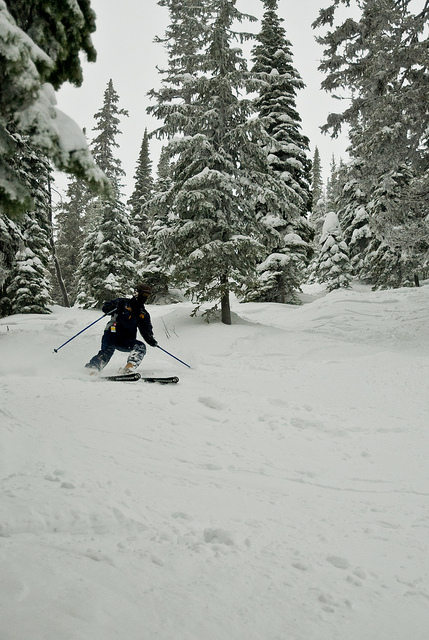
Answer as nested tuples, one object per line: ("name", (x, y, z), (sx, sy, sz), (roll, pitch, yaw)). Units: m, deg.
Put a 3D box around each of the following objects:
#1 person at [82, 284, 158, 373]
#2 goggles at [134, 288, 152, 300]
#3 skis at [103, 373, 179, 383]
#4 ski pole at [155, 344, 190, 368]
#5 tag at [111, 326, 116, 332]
("person", (-1.641, 0.169, 9.276), (1.101, 1.774, 0.880), (0, -23, 27))
("goggles", (-1.282, -0.458, 9.599), (0.210, 0.084, 0.170), (16, 11, 39))
("skis", (-1.135, 0.873, 8.196), (1.035, 0.086, 0.119), (1, 24, -2))
("ski pole", (-0.857, 0.723, 11.018), (0.066, 0.671, 0.045), (-54, 2, -41))
("tag", (-1.688, 0.156, 9.141), (0.061, 0.117, 0.115), (-1, -1, 44))
